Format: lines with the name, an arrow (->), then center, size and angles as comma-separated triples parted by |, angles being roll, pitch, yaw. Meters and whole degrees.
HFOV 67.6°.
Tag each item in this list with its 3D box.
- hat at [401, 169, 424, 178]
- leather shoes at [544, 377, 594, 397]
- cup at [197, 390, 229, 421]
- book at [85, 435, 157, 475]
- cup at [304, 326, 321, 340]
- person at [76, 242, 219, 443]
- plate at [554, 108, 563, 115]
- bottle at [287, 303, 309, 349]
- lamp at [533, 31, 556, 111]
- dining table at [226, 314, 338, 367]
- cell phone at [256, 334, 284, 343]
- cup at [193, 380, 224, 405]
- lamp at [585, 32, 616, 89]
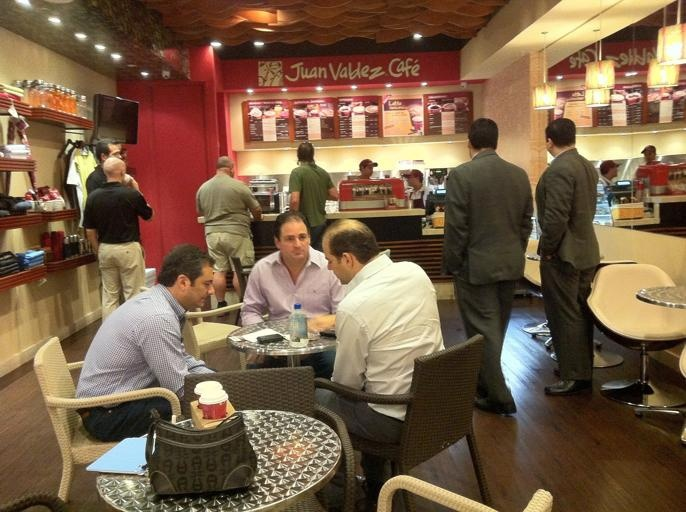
hat -> 1.249, -1.500, 9.225 | 0.338, 0.114, 0.304 | 0, 10, -5
leather shoes -> 1.850, 1.077, 4.226 | 0.408, 0.153, 0.141 | 1, 0, -3
cup -> -0.472, 0.545, 1.866 | 0.112, 0.075, 0.105 | -1, -3, 0
book -> -0.820, 0.756, 1.907 | 0.209, 0.013, 0.294 | 2, 4, -3
cup -> -0.183, 0.461, 3.046 | 0.098, 0.043, 0.138 | 0, 1, -3
person -> -1.050, 0.466, 2.927 | 0.743, 1.011, 0.740 | 11, 7, 21
plate -> 3.183, -2.120, 7.558 | 0.152, 0.114, 0.044 | 7, 15, 42
bottle -> -0.257, 0.417, 2.945 | 0.108, 0.161, 0.192 | -3, 10, -3
lamp -> 2.833, -2.502, 7.155 | 0.304, 0.912, 1.107 | 1, 11, 21
dining table -> -0.390, 0.547, 2.998 | 0.375, 0.242, 0.376 | 8, 14, 36
cell phone -> -0.424, 0.488, 3.004 | 0.161, 0.025, 0.108 | -4, 10, -8
cup -> -0.491, 0.508, 1.894 | 0.091, 0.047, 0.087 | 1, 1, 0
lamp -> 2.757, -1.944, 5.506 | 0.267, 0.286, 0.161 | 3, 12, 29
